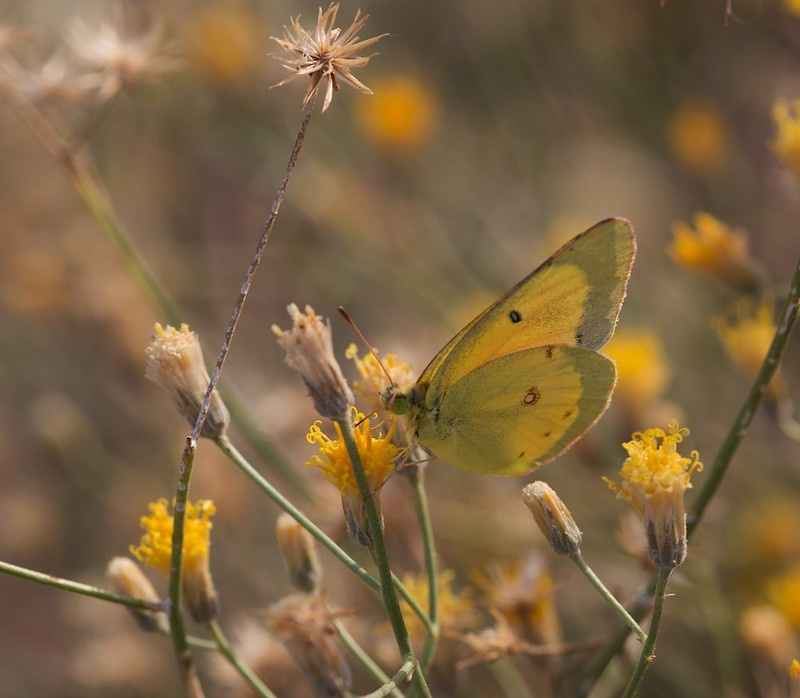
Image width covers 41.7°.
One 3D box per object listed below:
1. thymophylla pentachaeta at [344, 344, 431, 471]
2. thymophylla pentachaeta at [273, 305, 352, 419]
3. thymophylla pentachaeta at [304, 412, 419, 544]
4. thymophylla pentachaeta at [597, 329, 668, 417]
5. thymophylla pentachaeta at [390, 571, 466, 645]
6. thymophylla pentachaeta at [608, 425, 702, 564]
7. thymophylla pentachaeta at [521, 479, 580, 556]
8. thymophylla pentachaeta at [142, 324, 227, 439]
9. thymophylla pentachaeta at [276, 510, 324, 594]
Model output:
[{"bbox_3d":[-0.008,0.035,0.883,0.071,0.064,0.106,2,-18,0],"label":"thymophylla pentachaeta"},{"bbox_3d":[-0.059,0.004,0.706,0.036,0.069,0.079,-18,-49,3],"label":"thymophylla pentachaeta"},{"bbox_3d":[-0.028,0.100,0.772,0.054,0.083,0.065,7,-21,-39],"label":"thymophylla pentachaeta"},{"bbox_3d":[0.218,0.035,0.987,0.055,0.041,0.083,-4,-8,24],"label":"thymophylla pentachaeta"},{"bbox_3d":[0.025,0.228,0.939,0.059,0.036,0.064,6,6,19],"label":"thymophylla pentachaeta"},{"bbox_3d":[0.187,0.107,0.757,0.054,0.100,0.061,-13,-11,27],"label":"thymophylla pentachaeta"},{"bbox_3d":[0.110,0.124,0.797,0.031,0.062,0.022,-28,-3,-45],"label":"thymophylla pentachaeta"},{"bbox_3d":[-0.160,0.017,0.776,0.034,0.087,0.039,-5,16,26],"label":"thymophylla pentachaeta"},{"bbox_3d":[-0.081,0.167,0.847,0.024,0.075,0.033,-22,-5,22],"label":"thymophylla pentachaeta"}]
